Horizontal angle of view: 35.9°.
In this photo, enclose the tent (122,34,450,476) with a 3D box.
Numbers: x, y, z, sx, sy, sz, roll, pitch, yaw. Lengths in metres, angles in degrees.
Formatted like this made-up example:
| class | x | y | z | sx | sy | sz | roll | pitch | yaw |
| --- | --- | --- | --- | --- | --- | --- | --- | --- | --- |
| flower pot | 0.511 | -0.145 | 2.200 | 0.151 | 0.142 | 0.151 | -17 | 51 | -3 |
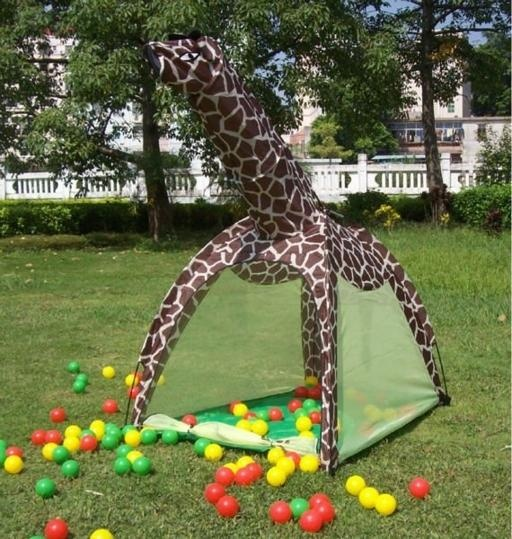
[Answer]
| class | x | y | z | sx | sy | sz | roll | pitch | yaw |
| --- | --- | --- | --- | --- | --- | --- | --- | --- | --- |
| tent | 0.283 | -0.115 | 6.439 | 2.015 | 3.088 | 1.990 | 0 | -11 | -29 |
